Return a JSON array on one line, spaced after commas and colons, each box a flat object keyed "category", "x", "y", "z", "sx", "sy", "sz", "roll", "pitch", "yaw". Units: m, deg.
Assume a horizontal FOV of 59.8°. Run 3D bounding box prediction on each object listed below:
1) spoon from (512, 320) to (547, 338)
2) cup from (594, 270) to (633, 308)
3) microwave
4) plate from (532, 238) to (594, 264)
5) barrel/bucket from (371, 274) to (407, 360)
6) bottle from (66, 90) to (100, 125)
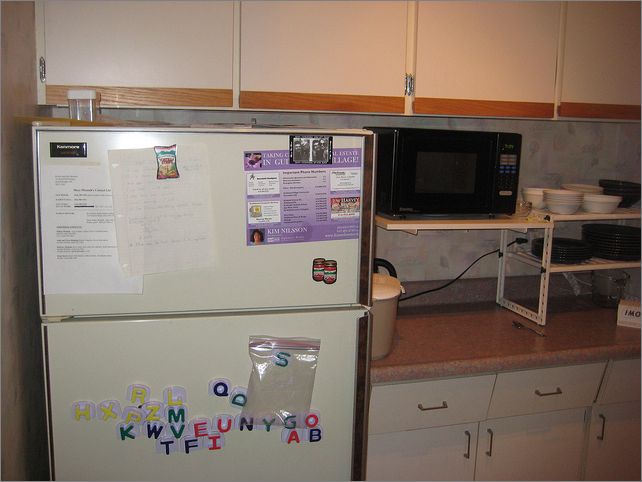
[{"category": "spoon", "x": 0.913, "y": 0.386, "z": 2.427, "sx": 0.038, "sy": 0.020, "sz": 0.129, "roll": 6, "pitch": 8, "yaw": -27}, {"category": "cup", "x": 1.392, "y": 0.228, "z": 2.675, "sx": 0.148, "sy": 0.182, "sz": 0.193, "roll": 0, "pitch": 13, "yaw": 1}, {"category": "microwave", "x": 0.556, "y": -0.275, "z": 2.364, "sx": 0.582, "sy": 0.360, "sz": 0.398, "roll": -2, "pitch": 8, "yaw": -18}, {"category": "plate", "x": 1.108, "y": 0.045, "z": 2.576, "sx": 0.159, "sy": 0.064, "sz": 0.160, "roll": 0, "pitch": 5, "yaw": -6}, {"category": "barrel/bucket", "x": 0.259, "y": 0.300, "z": 2.157, "sx": 0.117, "sy": 0.321, "sz": 0.239, "roll": 1, "pitch": 11, "yaw": 8}, {"category": "bottle", "x": -0.843, "y": -0.490, "z": 1.985, "sx": 0.105, "sy": 0.119, "sz": 0.177, "roll": -5, "pitch": 12, "yaw": -22}]
